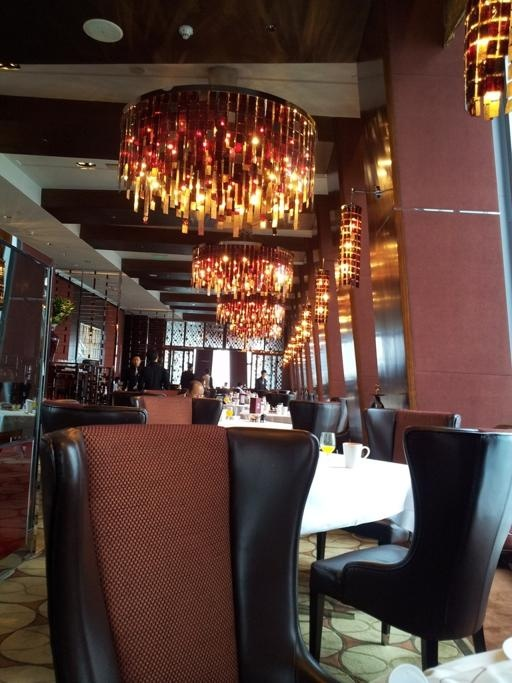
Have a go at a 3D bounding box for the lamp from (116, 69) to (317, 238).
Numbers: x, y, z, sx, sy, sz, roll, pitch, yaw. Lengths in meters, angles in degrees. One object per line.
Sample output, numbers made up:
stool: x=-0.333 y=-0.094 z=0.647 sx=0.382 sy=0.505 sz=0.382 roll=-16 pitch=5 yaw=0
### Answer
lamp: x=-0.365 y=-1.555 z=4.143 sx=1.685 sy=0.969 sz=1.859 roll=7 pitch=16 yaw=23

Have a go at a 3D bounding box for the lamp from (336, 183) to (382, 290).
lamp: x=1.122 y=-1.332 z=5.385 sx=0.410 sy=1.528 sz=1.568 roll=0 pitch=-5 yaw=9

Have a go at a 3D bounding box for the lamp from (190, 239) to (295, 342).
lamp: x=-0.230 y=-0.958 z=8.719 sx=1.451 sy=0.961 sz=3.308 roll=2 pitch=-12 yaw=-1

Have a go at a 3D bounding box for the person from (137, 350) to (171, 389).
person: x=-2.117 y=0.620 z=9.964 sx=0.536 sy=0.832 sz=1.044 roll=2 pitch=-5 yaw=-11
